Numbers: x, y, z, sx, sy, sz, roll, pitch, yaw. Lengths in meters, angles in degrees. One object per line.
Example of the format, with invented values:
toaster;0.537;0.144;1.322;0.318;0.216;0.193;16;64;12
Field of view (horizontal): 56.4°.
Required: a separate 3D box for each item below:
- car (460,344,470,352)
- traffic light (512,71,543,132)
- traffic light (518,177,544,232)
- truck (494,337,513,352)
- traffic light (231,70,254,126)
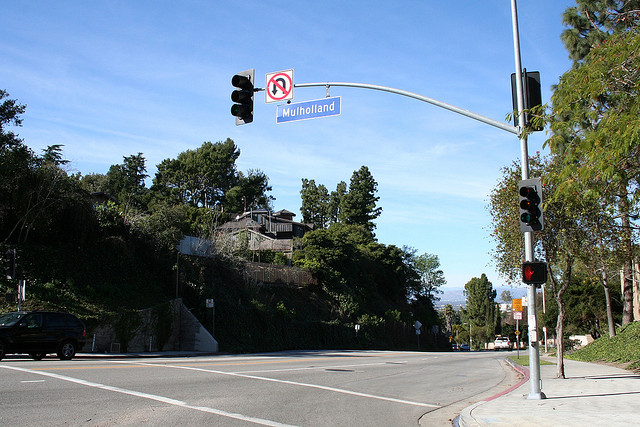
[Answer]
car;24.046;22.377;99.615;1.082;0.976;1.988;0;-4;7
traffic light;7.760;-4.211;22.556;0.852;0.206;2.270;1;-57;21
traffic light;7.797;-0.297;22.036;0.751;2.097;0.706;1;-1;1
truck;26.394;18.758;85.809;2.125;1.755;3.511;-5;-16;23
traffic light;-2.965;-4.410;22.726;0.829;2.182;0.533;3;-13;-11
